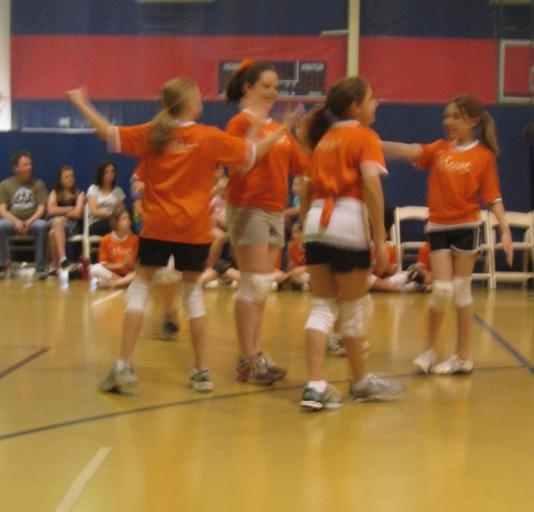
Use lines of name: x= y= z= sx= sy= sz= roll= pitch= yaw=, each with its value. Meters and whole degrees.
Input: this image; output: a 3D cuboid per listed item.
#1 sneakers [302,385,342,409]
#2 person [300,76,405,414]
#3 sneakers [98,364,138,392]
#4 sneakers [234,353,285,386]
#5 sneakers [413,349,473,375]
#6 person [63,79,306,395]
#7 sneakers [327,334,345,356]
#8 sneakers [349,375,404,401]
sneakers: x=0.230 y=0.587 z=2.419 sx=0.078 sy=0.099 sz=0.203 roll=1 pitch=-1 yaw=37
person: x=0.370 y=-0.066 z=2.426 sx=0.431 sy=1.418 sz=0.380 roll=1 pitch=6 yaw=3
sneakers: x=-0.679 y=0.563 z=2.560 sx=0.167 sy=0.151 sz=0.191 roll=-2 pitch=7 yaw=-18
sneakers: x=-0.053 y=0.552 z=2.827 sx=0.197 sy=0.120 sz=0.139 roll=0 pitch=4 yaw=26
sneakers: x=0.923 y=0.573 z=2.991 sx=0.235 sy=0.109 sz=0.144 roll=6 pitch=-5 yaw=-7
person: x=-0.449 y=-0.114 z=2.669 sx=0.871 sy=1.482 sz=0.479 roll=-2 pitch=7 yaw=-21
sneakers: x=0.414 y=0.549 z=3.479 sx=0.102 sy=0.058 sz=0.139 roll=12 pitch=15 yaw=0
sneakers: x=0.485 y=0.581 z=2.513 sx=0.169 sy=0.090 sz=0.125 roll=-4 pitch=3 yaw=0
